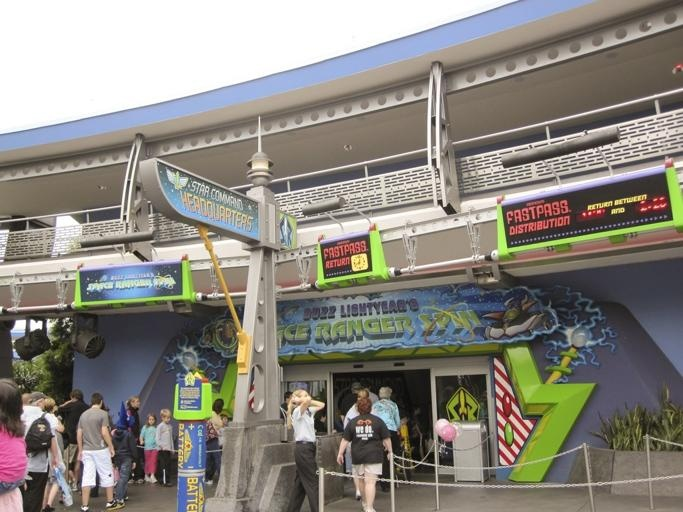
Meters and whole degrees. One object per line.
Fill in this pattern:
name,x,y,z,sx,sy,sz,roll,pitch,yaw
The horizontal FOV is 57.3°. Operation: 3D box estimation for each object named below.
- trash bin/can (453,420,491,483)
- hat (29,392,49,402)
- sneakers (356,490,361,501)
trash bin/can,3.165,4.769,15.363,0.694,1.402,1.028,-13,-18,39
hat,-5.753,2.632,11.716,0.264,0.217,0.637,5,-15,-26
sneakers,0.335,4.997,13.146,0.135,0.167,0.411,-1,-29,2
